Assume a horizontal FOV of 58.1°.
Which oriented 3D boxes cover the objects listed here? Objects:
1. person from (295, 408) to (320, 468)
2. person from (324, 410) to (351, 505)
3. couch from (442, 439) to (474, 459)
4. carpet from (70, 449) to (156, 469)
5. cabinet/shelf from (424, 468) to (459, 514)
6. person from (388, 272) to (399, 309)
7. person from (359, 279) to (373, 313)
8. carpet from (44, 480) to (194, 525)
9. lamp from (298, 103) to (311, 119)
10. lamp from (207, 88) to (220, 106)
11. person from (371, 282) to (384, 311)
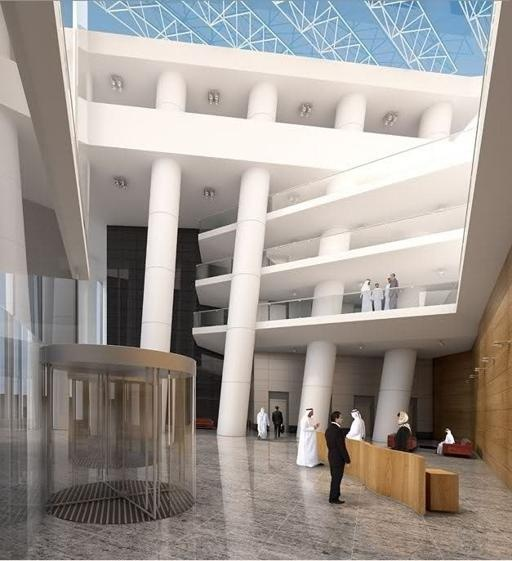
[{"bbox_3d":[1.322,3.910,11.548,0.556,1.347,0.829,0,-12,8],"label":"person"},{"bbox_3d":[1.361,2.859,7.638,0.360,1.328,1.542,0,-13,10],"label":"person"},{"bbox_3d":[6.724,5.577,15.315,0.880,0.538,0.975,-3,-15,21],"label":"couch"},{"bbox_3d":[-2.276,2.826,7.276,1.256,0.321,0.492,-1,-14,11],"label":"carpet"},{"bbox_3d":[2.778,3.136,6.995,0.401,0.640,0.851,-1,-9,7],"label":"cabinet/shelf"},{"bbox_3d":[4.917,0.365,16.468,0.374,1.332,0.494,-3,-12,21],"label":"person"},{"bbox_3d":[4.160,0.544,17.330,0.446,1.357,0.720,-1,-12,13],"label":"person"},{"bbox_3d":[-1.922,3.150,6.588,1.889,0.185,2.116,1,-8,-12],"label":"carpet"},{"bbox_3d":[2.580,-8.840,23.770,0.672,0.219,1.070,1,-15,4],"label":"lamp"},{"bbox_3d":[-2.092,-9.129,22.784,0.387,0.479,0.592,5,30,-2],"label":"lamp"},{"bbox_3d":[4.458,0.672,16.786,0.422,0.860,0.230,-2,-12,19],"label":"person"}]
